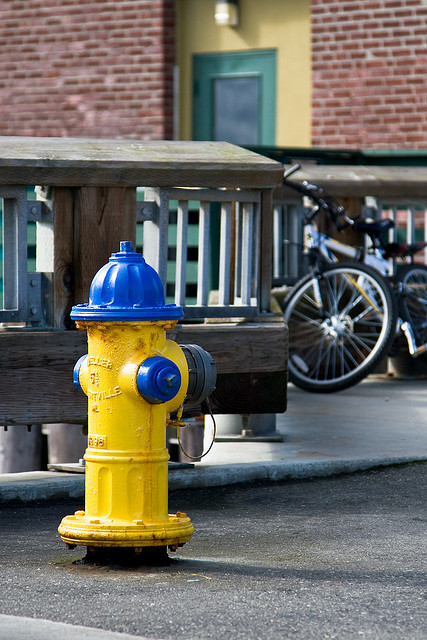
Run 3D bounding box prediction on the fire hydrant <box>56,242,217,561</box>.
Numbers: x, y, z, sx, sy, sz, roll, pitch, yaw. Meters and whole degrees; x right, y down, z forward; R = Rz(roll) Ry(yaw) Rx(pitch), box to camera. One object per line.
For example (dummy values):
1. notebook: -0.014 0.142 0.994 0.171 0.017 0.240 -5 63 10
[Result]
1. fire hydrant: -0.327 0.294 5.739 0.484 1.156 0.328 -1 3 -6
